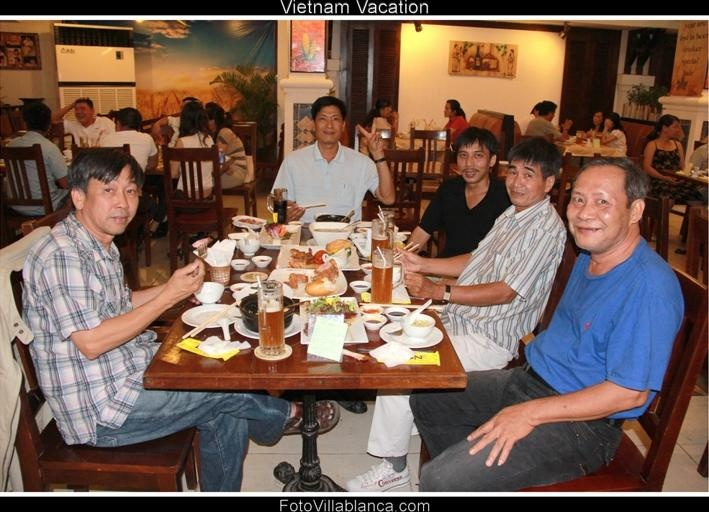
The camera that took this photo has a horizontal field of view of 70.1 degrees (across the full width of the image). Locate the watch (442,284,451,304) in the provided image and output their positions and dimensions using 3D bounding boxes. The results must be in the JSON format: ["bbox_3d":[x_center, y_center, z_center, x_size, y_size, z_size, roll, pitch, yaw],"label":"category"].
[{"bbox_3d":[0.411,0.170,2.257,0.053,0.073,0.078,0,20,6],"label":"watch"}]

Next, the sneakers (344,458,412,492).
[{"bbox_3d":[0.114,1.028,2.455,0.368,0.140,0.120,-3,18,-9],"label":"sneakers"}]

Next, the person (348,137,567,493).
[{"bbox_3d":[0.477,0.285,2.542,1.040,1.734,0.763,1,8,-5],"label":"person"}]

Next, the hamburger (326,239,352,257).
[{"bbox_3d":[-0.078,-0.038,2.476,0.088,0.046,0.090,-4,5,26],"label":"hamburger"}]

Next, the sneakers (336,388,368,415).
[{"bbox_3d":[0.000,0.870,3.054,0.255,0.097,0.085,15,29,28],"label":"sneakers"}]

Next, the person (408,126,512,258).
[{"bbox_3d":[0.609,-0.313,3.063,0.670,0.840,0.746,6,18,19],"label":"person"}]

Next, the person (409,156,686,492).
[{"bbox_3d":[0.716,0.287,1.917,0.863,1.251,0.527,-3,18,-5],"label":"person"}]

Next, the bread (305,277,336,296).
[{"bbox_3d":[-0.141,0.128,2.126,0.097,0.050,0.070,-5,1,5],"label":"bread"}]

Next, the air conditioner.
[{"bbox_3d":[-5.520,-3.677,10.205,1.158,2.048,1.557,29,33,27],"label":"air conditioner"}]
